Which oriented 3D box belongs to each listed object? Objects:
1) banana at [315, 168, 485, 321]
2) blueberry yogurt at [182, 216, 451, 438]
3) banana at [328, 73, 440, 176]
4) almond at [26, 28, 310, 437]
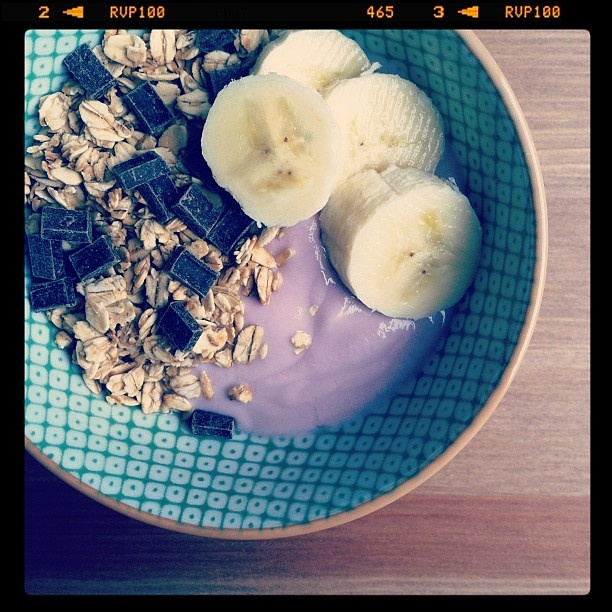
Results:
[{"bbox_3d":[0.169,-0.097,1.250,0.232,0.232,0.055,-33,33,22],"label":"banana"},{"bbox_3d":[0.055,0.025,1.468,0.336,0.073,0.419,33,94,2],"label":"blueberry yogurt"},{"bbox_3d":[0.138,-0.299,1.256,0.175,0.042,0.175,12,92,-4],"label":"banana"},{"bbox_3d":[-0.292,-0.118,1.349,0.548,0.195,0.614,2,91,-3],"label":"almond"}]
